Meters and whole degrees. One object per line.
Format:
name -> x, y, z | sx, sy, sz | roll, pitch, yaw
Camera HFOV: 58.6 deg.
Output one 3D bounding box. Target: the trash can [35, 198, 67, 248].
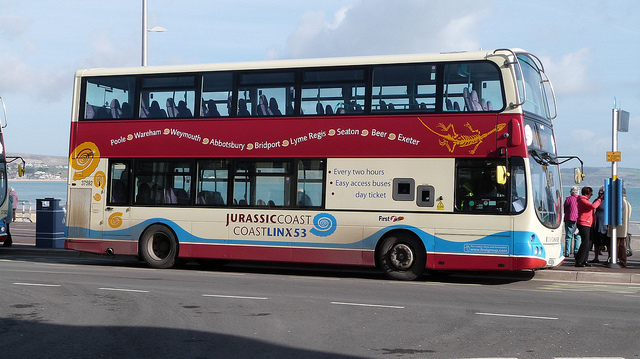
trash can -> -11.408, 1.835, 24.119 | 1.238, 2.052, 0.781 | 0, 1, -9
